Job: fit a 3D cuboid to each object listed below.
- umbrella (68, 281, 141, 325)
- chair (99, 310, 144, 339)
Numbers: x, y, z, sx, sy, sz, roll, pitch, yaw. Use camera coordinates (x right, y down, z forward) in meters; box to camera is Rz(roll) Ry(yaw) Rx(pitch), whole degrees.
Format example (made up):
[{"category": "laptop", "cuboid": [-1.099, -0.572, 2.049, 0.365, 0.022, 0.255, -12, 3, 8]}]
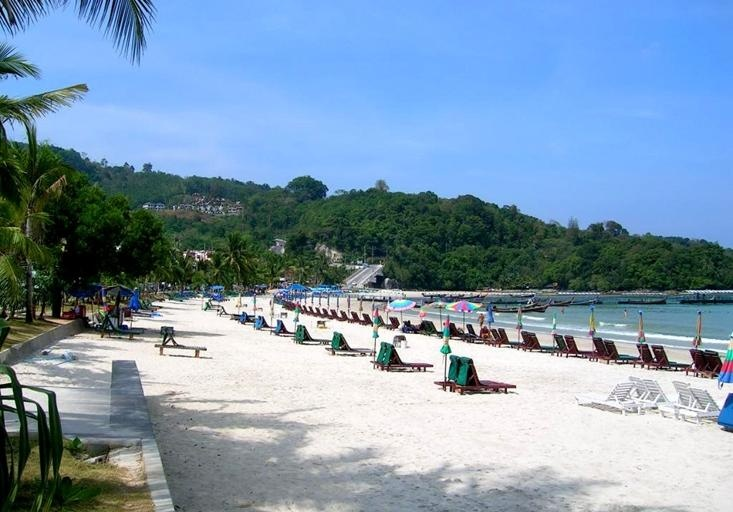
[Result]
[{"category": "umbrella", "cuboid": [-13.546, 2.443, 36.174, 2.216, 0.973, 2.802, 11, 6, 37]}, {"category": "chair", "cuboid": [-10.510, 3.037, 29.835, 1.234, 0.729, 1.553, 0, 0, -17]}]
